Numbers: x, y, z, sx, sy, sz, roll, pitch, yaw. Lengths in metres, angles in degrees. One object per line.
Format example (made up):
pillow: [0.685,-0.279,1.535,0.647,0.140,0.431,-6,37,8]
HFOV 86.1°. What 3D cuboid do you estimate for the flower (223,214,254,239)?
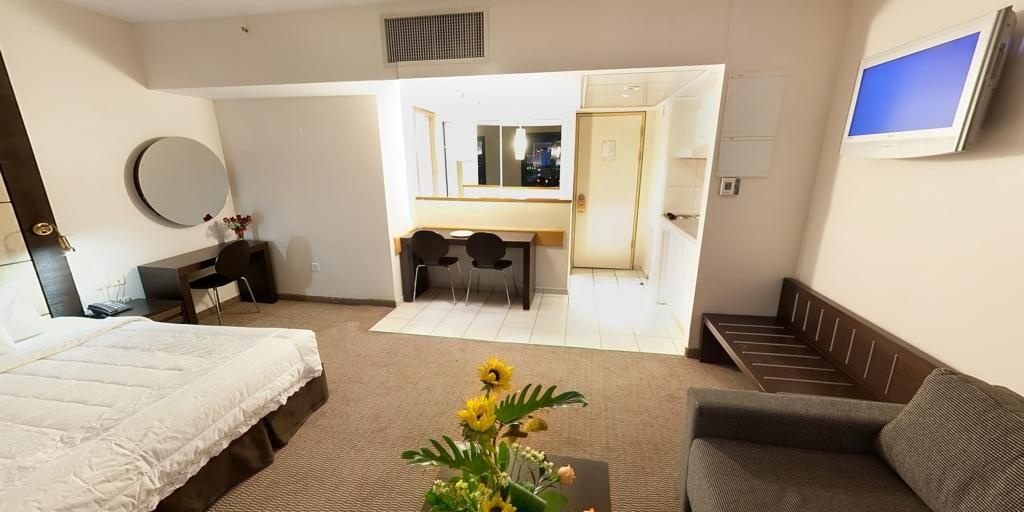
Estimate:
flower: [-3.639,-0.423,7.496,0.406,0.337,0.373,6,9,18]

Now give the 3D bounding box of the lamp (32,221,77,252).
lamp: [-5.007,-0.212,6.011,0.235,0.334,0.090,-29,25,-34]

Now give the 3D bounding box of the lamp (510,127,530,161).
lamp: [0.116,-1.869,9.117,0.286,0.546,0.216,3,18,13]

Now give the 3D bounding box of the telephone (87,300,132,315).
telephone: [-4.603,0.591,6.305,0.374,0.118,0.314,-13,19,-40]

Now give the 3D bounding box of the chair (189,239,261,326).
chair: [-3.657,0.313,6.830,0.746,1.011,0.728,-18,-16,26]

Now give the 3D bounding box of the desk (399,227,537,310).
desk: [-0.587,0.153,7.579,1.312,0.640,0.435,3,31,8]

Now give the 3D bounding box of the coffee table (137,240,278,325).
coffee table: [-3.884,0.318,6.939,0.471,0.616,1.027,6,19,14]

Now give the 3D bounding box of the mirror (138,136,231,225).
mirror: [-4.167,-0.947,6.952,0.249,0.931,1.070,5,4,33]

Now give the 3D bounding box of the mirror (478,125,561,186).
mirror: [0.121,-1.679,9.265,1.783,1.058,0.032,-6,18,-31]
